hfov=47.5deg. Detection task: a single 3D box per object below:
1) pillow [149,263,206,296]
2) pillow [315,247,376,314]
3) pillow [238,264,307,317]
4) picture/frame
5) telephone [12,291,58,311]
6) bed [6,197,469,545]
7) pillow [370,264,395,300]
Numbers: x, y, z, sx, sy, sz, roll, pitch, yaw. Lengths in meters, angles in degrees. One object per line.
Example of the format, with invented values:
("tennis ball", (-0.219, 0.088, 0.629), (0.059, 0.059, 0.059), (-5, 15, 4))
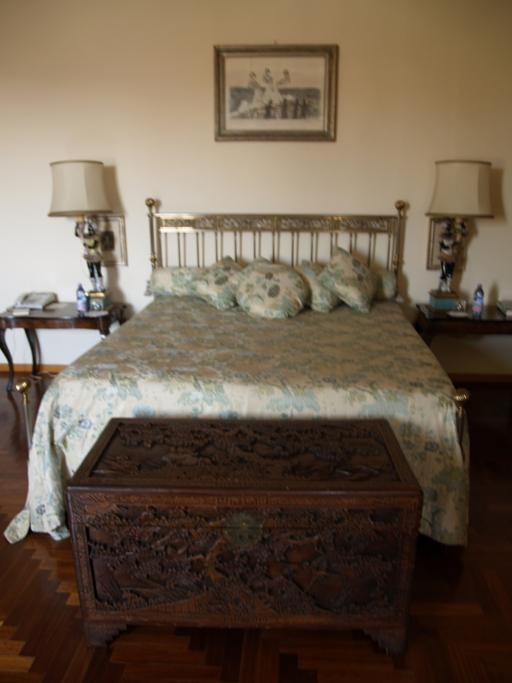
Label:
("pillow", (-0.530, -0.405, 3.845), (0.315, 0.103, 0.195), (3, 44, 3))
("pillow", (0.494, -0.345, 3.575), (0.123, 0.413, 0.365), (-35, 37, 28))
("pillow", (0.070, -0.313, 3.412), (0.348, 0.122, 0.345), (-15, 42, -8))
("picture/frame", (0.150, -1.618, 3.710), (0.661, 0.428, 0.027), (0, 16, 2))
("telephone", (-1.516, -0.286, 4.005), (0.194, 0.059, 0.185), (0, 17, -4))
("bed", (0.072, 0.111, 3.172), (1.842, 1.050, 2.010), (1, 17, 5))
("pillow", (0.839, -0.385, 3.840), (0.209, 0.199, 0.092), (14, -23, -8))
